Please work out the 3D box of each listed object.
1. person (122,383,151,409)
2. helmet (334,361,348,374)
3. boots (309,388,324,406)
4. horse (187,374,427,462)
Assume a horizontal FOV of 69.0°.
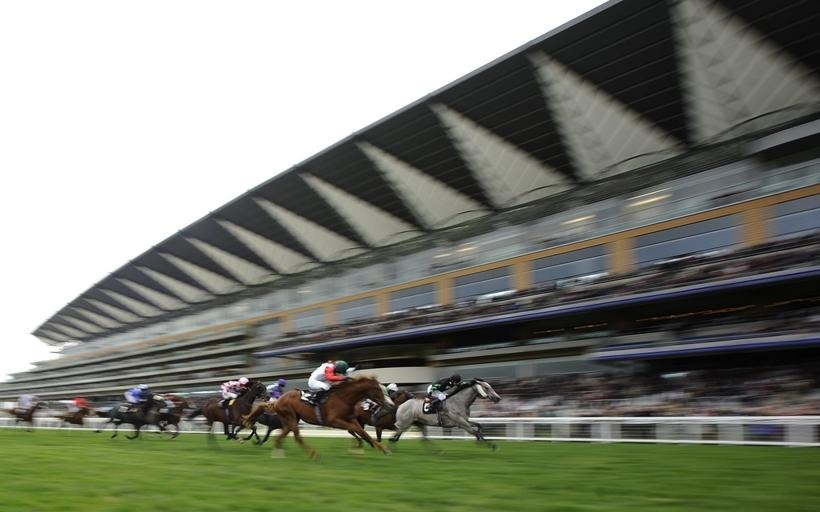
[{"bbox_3d":[-9.980,5.139,21.989,0.801,0.791,1.166,14,-25,-23],"label":"person"},{"bbox_3d":[-1.776,2.879,15.348,0.314,0.350,0.575,5,-21,-6],"label":"helmet"},{"bbox_3d":[-2.372,3.633,15.276,0.285,0.415,0.388,13,-28,-18],"label":"boots"},{"bbox_3d":[-2.132,4.109,15.247,3.086,2.116,1.147,-15,-34,34],"label":"horse"}]
